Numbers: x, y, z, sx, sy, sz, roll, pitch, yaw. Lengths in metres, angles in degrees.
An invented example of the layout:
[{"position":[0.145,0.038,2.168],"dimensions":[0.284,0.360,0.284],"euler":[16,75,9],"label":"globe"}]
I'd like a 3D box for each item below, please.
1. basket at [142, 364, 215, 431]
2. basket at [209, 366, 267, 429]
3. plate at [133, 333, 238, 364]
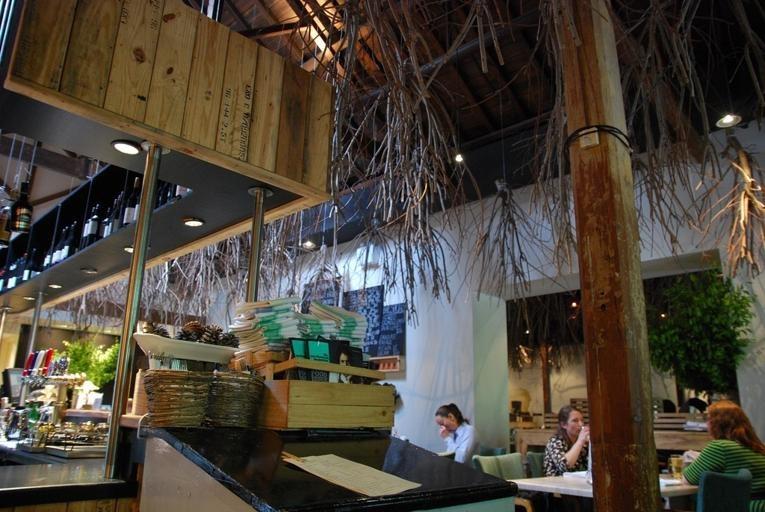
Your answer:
[{"position":[-0.869,0.595,2.214],"dimensions":[0.252,0.205,0.212],"euler":[13,-24,-32],"label":"basket"},{"position":[-0.645,0.648,2.400],"dimensions":[0.214,0.193,0.245],"euler":[-2,-21,9],"label":"basket"},{"position":[-0.940,0.436,2.505],"dimensions":[0.472,0.141,0.136],"euler":[8,4,-27],"label":"plate"}]
